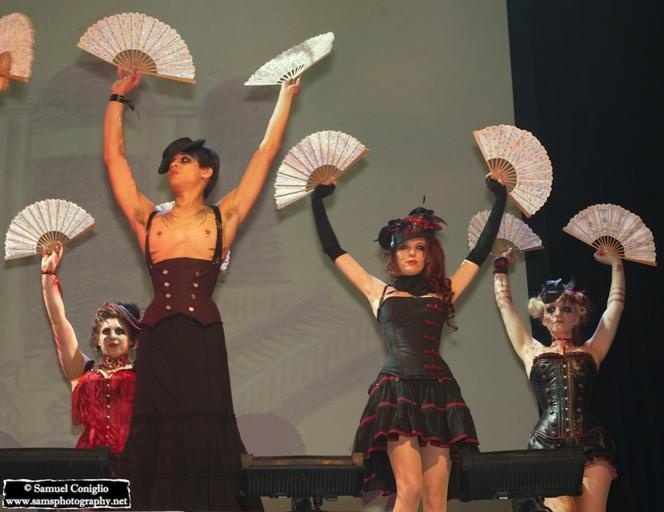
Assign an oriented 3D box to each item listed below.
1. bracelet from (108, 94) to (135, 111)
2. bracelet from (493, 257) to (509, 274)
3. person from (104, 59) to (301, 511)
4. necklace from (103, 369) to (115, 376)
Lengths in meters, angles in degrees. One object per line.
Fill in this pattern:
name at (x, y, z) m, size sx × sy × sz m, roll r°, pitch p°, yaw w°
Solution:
bracelet at (-1.328, -0.984, 9.440) m, size 0.130 × 0.053 × 0.140 m, roll 23°, pitch -10°, yaw 41°
bracelet at (1.085, 0.061, 9.588) m, size 0.097 × 0.086 × 0.105 m, roll -1°, pitch -45°, yaw 11°
person at (-0.853, 0.171, 9.121) m, size 1.105 × 2.761 × 0.571 m, roll 1°, pitch -5°, yaw -8°
necklace at (-1.397, 0.737, 9.264) m, size 0.051 × 0.033 × 0.017 m, roll 19°, pitch -2°, yaw 37°
